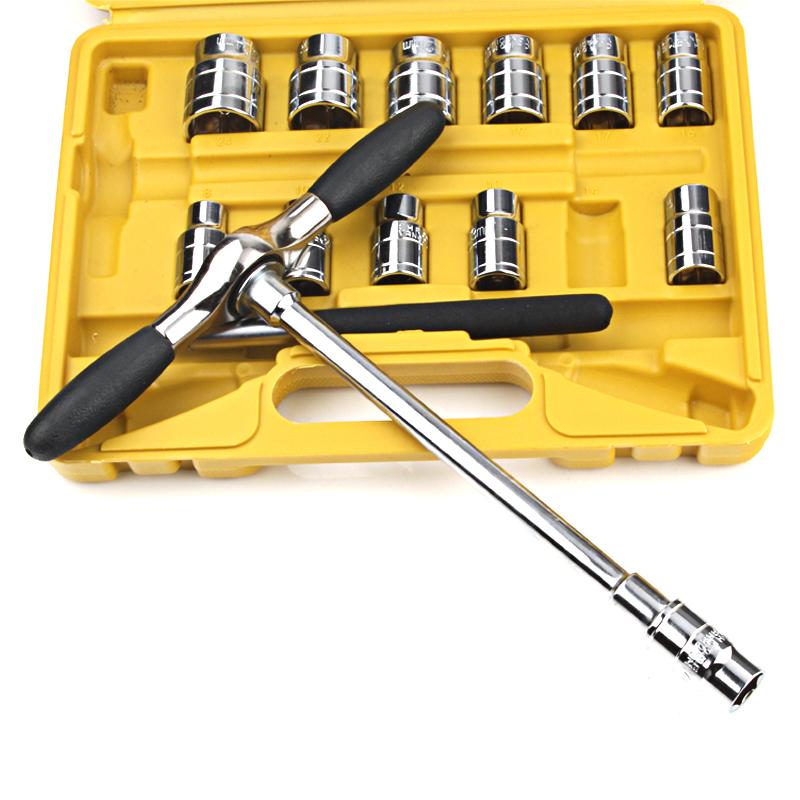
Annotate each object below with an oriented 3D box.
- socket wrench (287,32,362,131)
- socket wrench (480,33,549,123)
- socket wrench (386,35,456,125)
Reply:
[{"bbox_3d":[-0.095,-0.424,1.230,0.099,0.088,0.096,4,4,39],"label":"socket wrench"},{"bbox_3d":[0.149,-0.424,1.230,0.084,0.089,0.074,3,14,23],"label":"socket wrench"},{"bbox_3d":[0.026,-0.420,1.230,0.097,0.080,0.084,-2,6,9],"label":"socket wrench"}]
